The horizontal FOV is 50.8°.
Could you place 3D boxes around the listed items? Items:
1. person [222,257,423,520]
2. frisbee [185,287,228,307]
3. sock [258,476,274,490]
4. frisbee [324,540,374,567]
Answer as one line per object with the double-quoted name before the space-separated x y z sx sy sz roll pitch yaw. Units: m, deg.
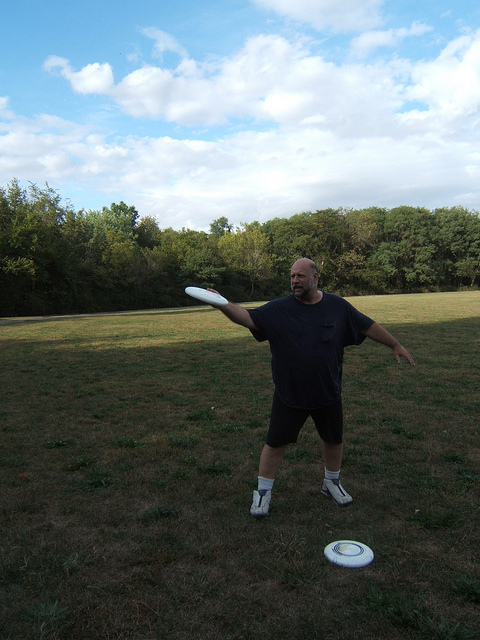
"person" 0.514 0.492 3.894 1.249 1.909 0.387 -4 6 -12
"frisbee" -0.255 -0.168 3.778 0.279 0.147 0.398 -4 5 -20
"sock" 0.201 1.237 3.848 0.102 0.101 0.095 -1 -12 -11
"frisbee" 0.690 1.490 3.217 0.295 0.046 0.255 -4 5 -22
